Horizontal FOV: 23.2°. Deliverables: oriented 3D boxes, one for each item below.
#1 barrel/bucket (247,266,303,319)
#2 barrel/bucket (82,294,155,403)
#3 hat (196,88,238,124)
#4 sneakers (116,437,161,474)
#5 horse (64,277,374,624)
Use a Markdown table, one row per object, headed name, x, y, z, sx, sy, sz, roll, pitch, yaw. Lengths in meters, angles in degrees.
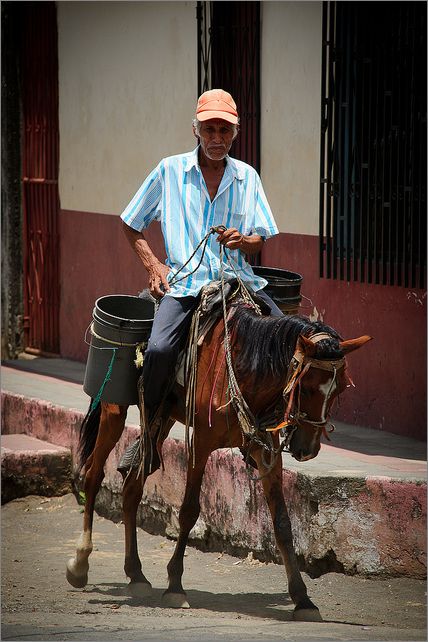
| name | x | y | z | sx | sy | sz | roll | pitch | yaw |
| --- | --- | --- | --- | --- | --- | --- | --- | --- | --- |
| barrel/bucket | 0.353 | -0.099 | 5.561 | 0.230 | 0.254 | 0.232 | 2 | 6 | 0 |
| barrel/bucket | -0.475 | 0.135 | 5.156 | 0.290 | 0.466 | 0.409 | 14 | 19 | -2 |
| hat | 0.014 | -0.970 | 4.740 | 0.192 | 0.150 | 0.292 | 3 | 10 | -1 |
| sneakers | -0.387 | 0.693 | 5.153 | 0.155 | 0.095 | 0.225 | -3 | 14 | 10 |
| horse | -0.068 | 0.608 | 4.784 | 0.569 | 1.583 | 1.550 | -5 | 13 | -42 |
